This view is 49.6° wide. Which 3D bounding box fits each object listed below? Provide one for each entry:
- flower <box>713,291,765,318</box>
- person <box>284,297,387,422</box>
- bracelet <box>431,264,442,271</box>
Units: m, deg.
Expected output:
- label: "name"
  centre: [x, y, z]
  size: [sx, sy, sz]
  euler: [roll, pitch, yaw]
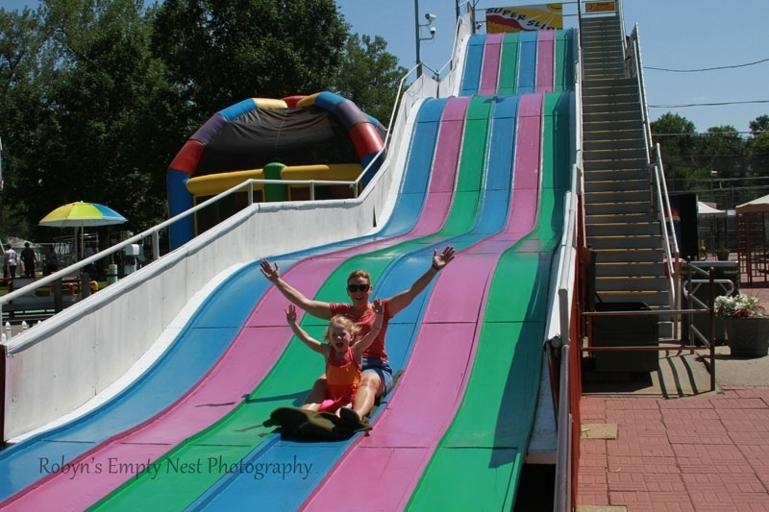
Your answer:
- label: "flower"
  centre: [6.564, 0.942, 15.622]
  size: [0.630, 0.294, 0.641]
  euler: [-1, 4, 0]
- label: "person"
  centre: [-0.590, 1.333, 11.054]
  size: [1.258, 1.424, 0.783]
  euler: [-3, 5, -3]
- label: "bracelet"
  centre: [0.741, 0.162, 11.426]
  size: [0.102, 0.039, 0.072]
  euler: [17, 26, -49]
